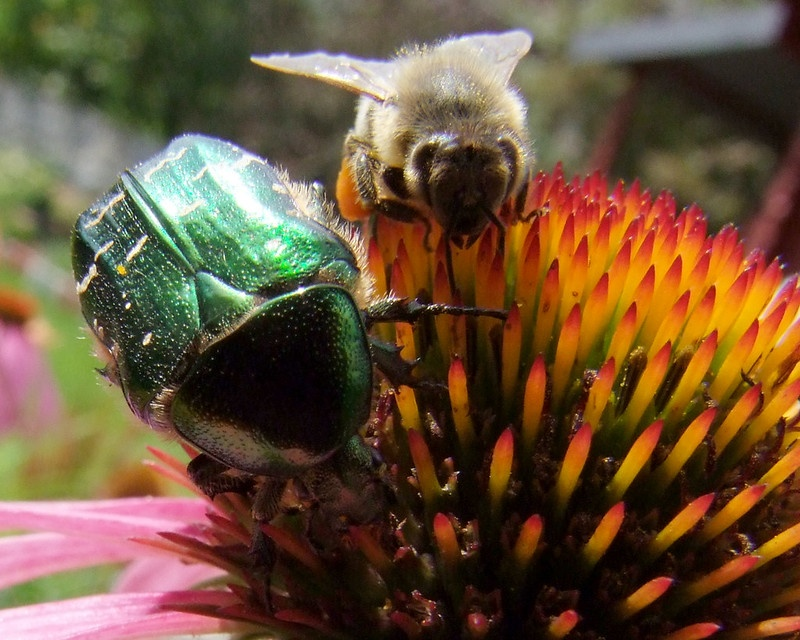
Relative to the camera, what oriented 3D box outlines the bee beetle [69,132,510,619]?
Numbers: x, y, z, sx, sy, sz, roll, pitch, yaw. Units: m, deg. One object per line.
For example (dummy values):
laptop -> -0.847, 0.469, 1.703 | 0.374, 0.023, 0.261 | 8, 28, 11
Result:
bee beetle -> -0.329, 0.013, 2.000 | 0.778, 0.548, 0.522 | 16, 39, 17
